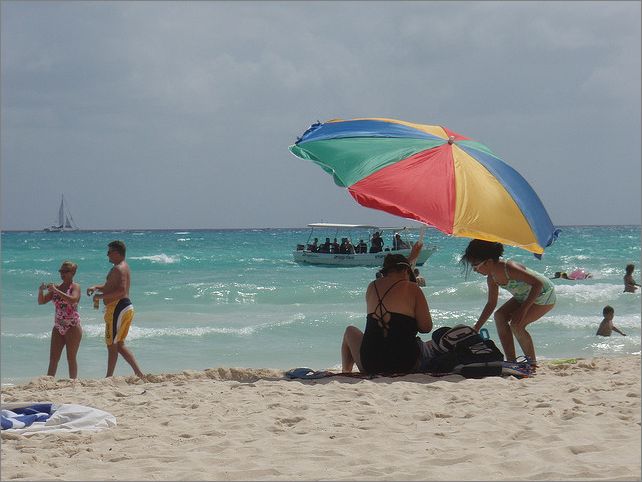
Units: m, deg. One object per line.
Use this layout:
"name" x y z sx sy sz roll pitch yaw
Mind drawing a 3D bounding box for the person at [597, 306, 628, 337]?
"person" 5.937 1.623 17.133 0.527 0.617 1.192 1 3 19

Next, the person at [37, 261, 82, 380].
"person" -3.906 1.227 12.486 0.590 1.871 1.293 -1 3 -19

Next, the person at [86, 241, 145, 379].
"person" -3.052 1.046 12.462 0.764 2.131 1.161 -1 3 -13

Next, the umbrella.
"umbrella" 1.352 -0.703 10.719 3.111 1.840 1.446 1 3 12
